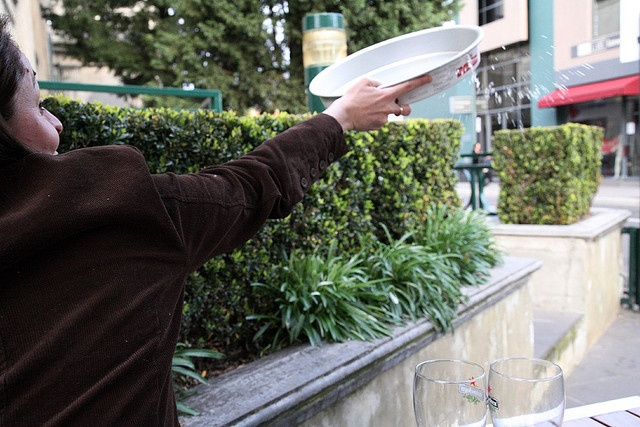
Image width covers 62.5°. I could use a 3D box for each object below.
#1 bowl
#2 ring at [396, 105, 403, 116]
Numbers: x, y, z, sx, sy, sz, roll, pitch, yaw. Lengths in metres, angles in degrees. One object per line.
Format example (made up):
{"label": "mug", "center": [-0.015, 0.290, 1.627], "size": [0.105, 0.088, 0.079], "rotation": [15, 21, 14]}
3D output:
{"label": "bowl", "center": [0.378, -0.757, 2.788], "size": [0.619, 0.111, 0.624], "rotation": [-33, 12, 8]}
{"label": "ring", "center": [0.339, -0.434, 2.217], "size": [0.009, 0.043, 0.033], "rotation": [12, 12, -4]}
